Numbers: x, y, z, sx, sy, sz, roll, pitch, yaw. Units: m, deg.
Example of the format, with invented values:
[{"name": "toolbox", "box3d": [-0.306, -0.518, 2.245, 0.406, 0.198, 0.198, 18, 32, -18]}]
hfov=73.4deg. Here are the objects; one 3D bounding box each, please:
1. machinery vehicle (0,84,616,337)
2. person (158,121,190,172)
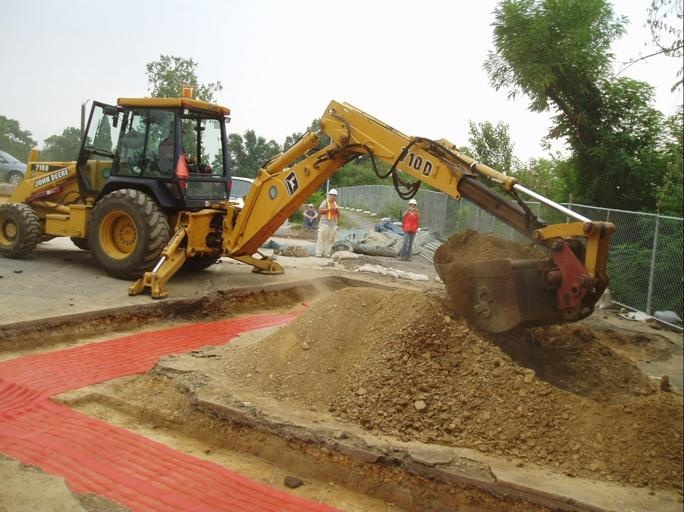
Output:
[{"name": "machinery vehicle", "box3d": [-1.503, -1.056, 7.267, 10.279, 3.570, 2.064, 5, 3, 30]}, {"name": "person", "box3d": [-2.967, -1.792, 8.003, 0.571, 0.747, 0.227, 0, -3, 5]}]
